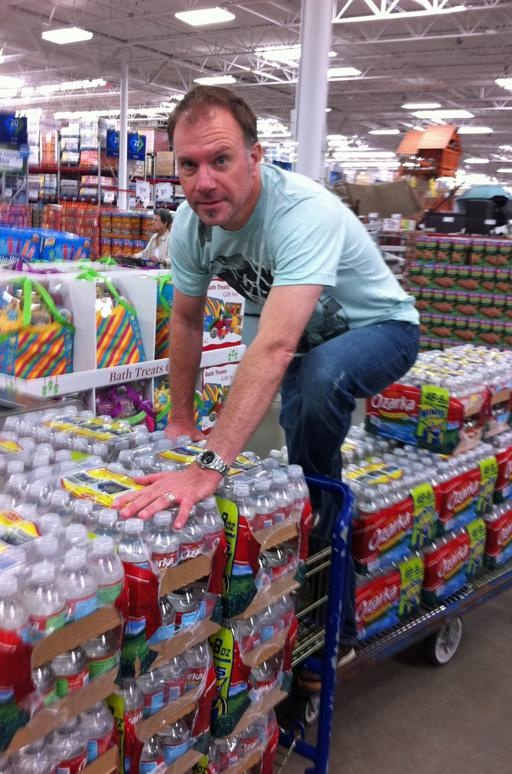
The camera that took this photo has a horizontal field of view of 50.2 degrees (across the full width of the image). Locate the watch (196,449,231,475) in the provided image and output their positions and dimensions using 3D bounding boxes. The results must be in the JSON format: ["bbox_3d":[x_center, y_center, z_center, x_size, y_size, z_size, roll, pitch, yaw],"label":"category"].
[{"bbox_3d":[-0.080,0.155,1.138,0.062,0.040,0.060,23,-10,34],"label":"watch"}]

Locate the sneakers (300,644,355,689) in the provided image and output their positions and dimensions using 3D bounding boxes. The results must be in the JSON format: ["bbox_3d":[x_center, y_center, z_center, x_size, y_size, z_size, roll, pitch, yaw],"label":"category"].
[{"bbox_3d":[0.236,0.832,1.728,0.078,0.102,0.232,8,15,37],"label":"sneakers"}]
